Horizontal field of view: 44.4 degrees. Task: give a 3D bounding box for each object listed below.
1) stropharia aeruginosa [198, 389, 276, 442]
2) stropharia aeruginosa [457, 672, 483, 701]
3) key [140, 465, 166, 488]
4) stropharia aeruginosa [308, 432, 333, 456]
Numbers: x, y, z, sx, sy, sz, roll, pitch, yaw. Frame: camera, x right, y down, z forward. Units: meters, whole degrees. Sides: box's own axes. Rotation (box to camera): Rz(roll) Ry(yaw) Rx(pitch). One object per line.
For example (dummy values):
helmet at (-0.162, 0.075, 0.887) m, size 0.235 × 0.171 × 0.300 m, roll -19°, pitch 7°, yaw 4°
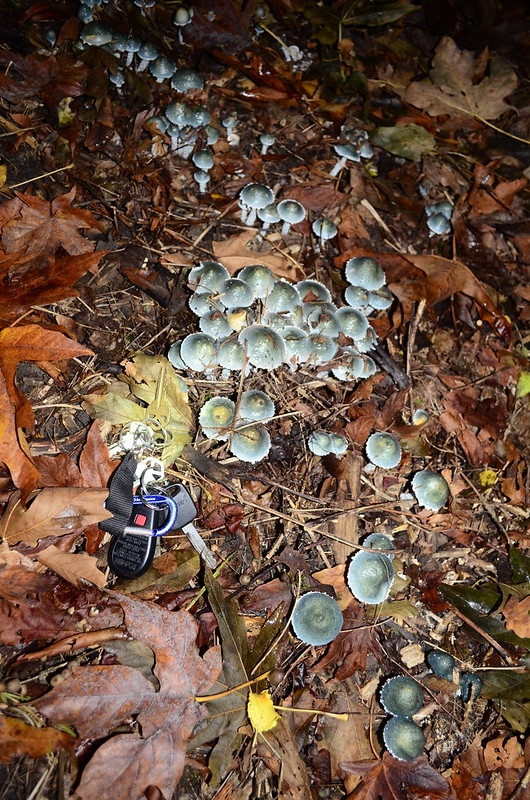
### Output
stropharia aeruginosa at (-0.182, 0.061, 3.865) m, size 0.373 × 0.287 × 0.380 m, roll -14°, pitch 20°, yaw -35°
stropharia aeruginosa at (1.224, 1.723, 3.891) m, size 0.132 × 0.144 × 0.045 m, roll -4°, pitch -11°, yaw 33°
key at (-0.633, 0.442, 3.652) m, size 0.120 × 0.111 × 0.041 m, roll 2°, pitch 6°, yaw -29°
stropharia aeruginosa at (0.331, 0.276, 3.983) m, size 0.134 × 0.182 × 0.173 m, roll -1°, pitch 38°, yaw -2°
